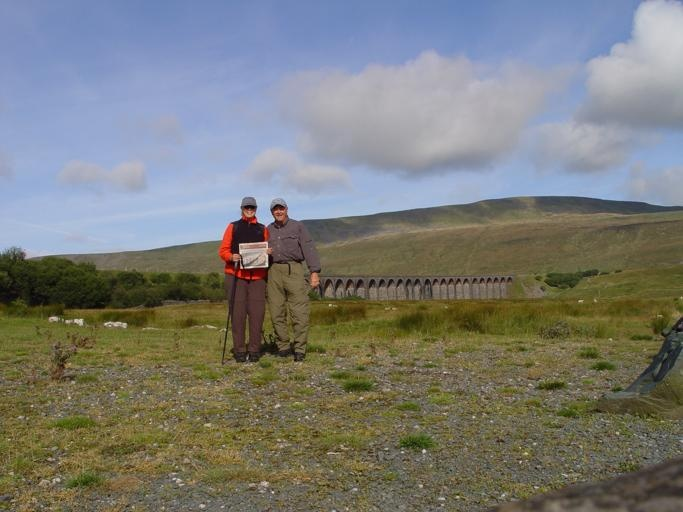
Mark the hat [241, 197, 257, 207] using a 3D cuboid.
[{"bbox_3d":[-2.243,-1.276,14.084,0.313,0.230,0.263,2,-2,-17],"label":"hat"}]

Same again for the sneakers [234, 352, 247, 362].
[{"bbox_3d":[-2.443,2.424,13.985,0.173,0.281,0.275,1,-16,-11],"label":"sneakers"}]

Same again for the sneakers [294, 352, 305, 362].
[{"bbox_3d":[-1.041,2.447,14.209,0.196,0.111,0.274,-1,-1,5],"label":"sneakers"}]

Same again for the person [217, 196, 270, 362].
[{"bbox_3d":[-2.362,0.570,14.112,1.093,3.923,0.771,2,-2,-9],"label":"person"}]

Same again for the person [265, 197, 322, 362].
[{"bbox_3d":[-1.252,0.590,14.319,1.271,3.884,0.873,2,-2,0],"label":"person"}]
